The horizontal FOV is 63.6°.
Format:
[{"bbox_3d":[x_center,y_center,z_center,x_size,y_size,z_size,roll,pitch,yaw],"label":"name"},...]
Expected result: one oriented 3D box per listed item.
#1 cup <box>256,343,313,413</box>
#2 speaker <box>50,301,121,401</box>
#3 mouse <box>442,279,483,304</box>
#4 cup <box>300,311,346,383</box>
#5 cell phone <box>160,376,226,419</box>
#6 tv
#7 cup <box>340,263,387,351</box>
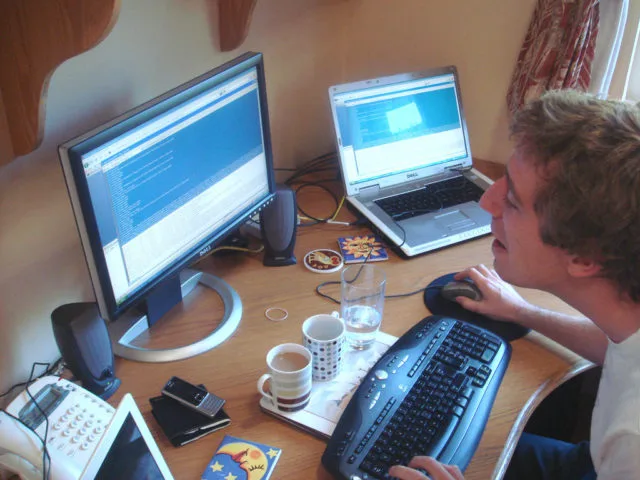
[{"bbox_3d":[-0.078,0.297,1.066,0.086,0.106,0.139,19,29,30],"label":"cup"},{"bbox_3d":[-0.504,0.241,1.111,0.102,0.203,0.114,3,26,16],"label":"speaker"},{"bbox_3d":[0.367,0.132,1.350,0.080,0.030,0.049,13,31,21],"label":"mouse"},{"bbox_3d":[-0.009,0.238,1.159,0.115,0.102,0.073,14,27,28],"label":"cup"},{"bbox_3d":[-0.265,0.328,1.084,0.122,0.021,0.060,23,44,21],"label":"cell phone"},{"bbox_3d":[-0.360,-0.074,1.281,0.308,0.643,0.613,24,37,18],"label":"tv"},{"bbox_3d":[0.105,0.180,1.318,0.113,0.196,0.119,1,19,-1],"label":"cup"}]
